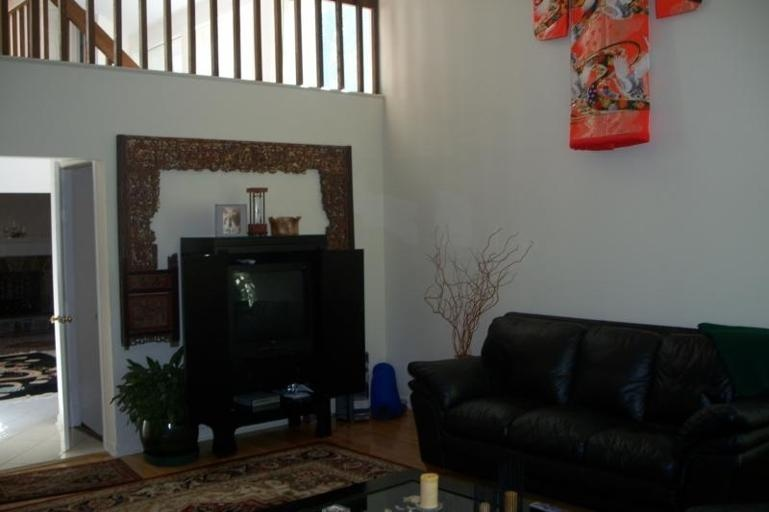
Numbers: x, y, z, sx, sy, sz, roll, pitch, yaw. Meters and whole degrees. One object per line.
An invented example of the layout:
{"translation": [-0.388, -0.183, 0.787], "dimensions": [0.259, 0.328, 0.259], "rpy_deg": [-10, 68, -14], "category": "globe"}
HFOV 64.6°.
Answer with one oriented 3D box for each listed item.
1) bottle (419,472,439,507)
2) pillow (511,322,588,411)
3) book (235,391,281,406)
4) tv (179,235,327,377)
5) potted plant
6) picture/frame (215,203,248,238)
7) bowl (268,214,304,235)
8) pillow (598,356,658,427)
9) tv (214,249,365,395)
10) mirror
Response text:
{"translation": [0.269, 1.368, 3.636], "dimensions": [0.111, 0.188, 0.211], "rpy_deg": [-1, 5, 5], "category": "bottle"}
{"translation": [1.342, 0.848, 4.906], "dimensions": [0.276, 0.562, 0.607], "rpy_deg": [14, -6, -42], "category": "pillow"}
{"translation": [-1.181, 1.302, 5.585], "dimensions": [0.201, 0.046, 0.184], "rpy_deg": [1, 0, -43], "category": "book"}
{"translation": [-1.328, 0.470, 5.899], "dimensions": [1.489, 1.342, 0.816], "rpy_deg": [-1, 5, -42], "category": "tv"}
{"translation": [-1.983, 1.263, 5.664], "dimensions": [1.089, 1.159, 0.909], "rpy_deg": [-2, -1, -19], "category": "potted plant"}
{"translation": [-1.441, -0.328, 5.695], "dimensions": [0.323, 0.310, 0.169], "rpy_deg": [1, -1, -35], "category": "picture/frame"}
{"translation": [-0.967, -0.272, 5.884], "dimensions": [0.241, 0.152, 0.208], "rpy_deg": [-1, -7, -4], "category": "bowl"}
{"translation": [1.821, 0.965, 4.493], "dimensions": [0.436, 0.407, 0.129], "rpy_deg": [3, -5, 39], "category": "pillow"}
{"translation": [-0.923, 0.670, 6.051], "dimensions": [1.464, 1.320, 0.745], "rpy_deg": [4, -18, -29], "category": "tv"}
{"translation": [-1.494, -0.107, 5.732], "dimensions": [2.249, 1.802, 0.149], "rpy_deg": [0, -4, -29], "category": "mirror"}
